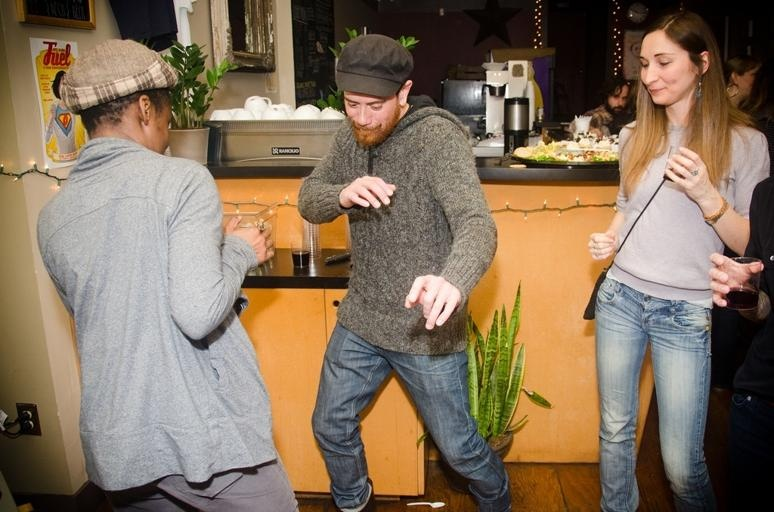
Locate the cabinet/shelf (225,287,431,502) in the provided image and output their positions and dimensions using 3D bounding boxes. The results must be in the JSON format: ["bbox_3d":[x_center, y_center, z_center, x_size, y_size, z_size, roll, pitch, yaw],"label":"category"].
[{"bbox_3d":[-0.243,0.537,2.382,1.038,0.962,0.536,0,11,5],"label":"cabinet/shelf"}]

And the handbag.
[{"bbox_3d":[1.010,-0.038,2.421,0.072,0.641,0.193,1,33,-40],"label":"handbag"}]

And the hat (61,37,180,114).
[{"bbox_3d":[-0.831,-0.518,1.740,0.258,0.125,0.239,4,28,29],"label":"hat"}]

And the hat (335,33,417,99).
[{"bbox_3d":[-0.051,-0.708,2.124,0.277,0.237,0.191,-1,13,-3],"label":"hat"}]

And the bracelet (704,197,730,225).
[{"bbox_3d":[1.193,-0.158,2.089,0.031,0.085,0.087,29,51,6],"label":"bracelet"}]

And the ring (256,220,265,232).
[{"bbox_3d":[-0.577,-0.137,2.588,0.046,0.024,0.058,1,38,-6],"label":"ring"}]
